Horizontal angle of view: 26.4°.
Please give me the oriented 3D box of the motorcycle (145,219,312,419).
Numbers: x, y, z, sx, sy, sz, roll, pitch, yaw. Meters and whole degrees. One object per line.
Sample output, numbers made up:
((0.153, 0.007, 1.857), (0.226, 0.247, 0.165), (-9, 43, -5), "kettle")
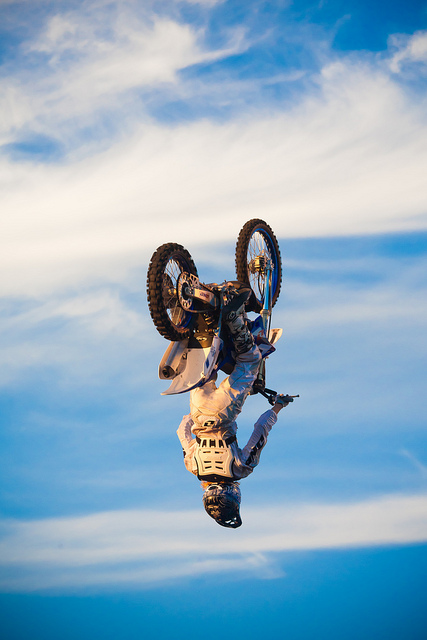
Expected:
((0.520, -0.169, 11.608), (1.712, 1.684, 3.009), (-4, 8, 26), "motorcycle")
